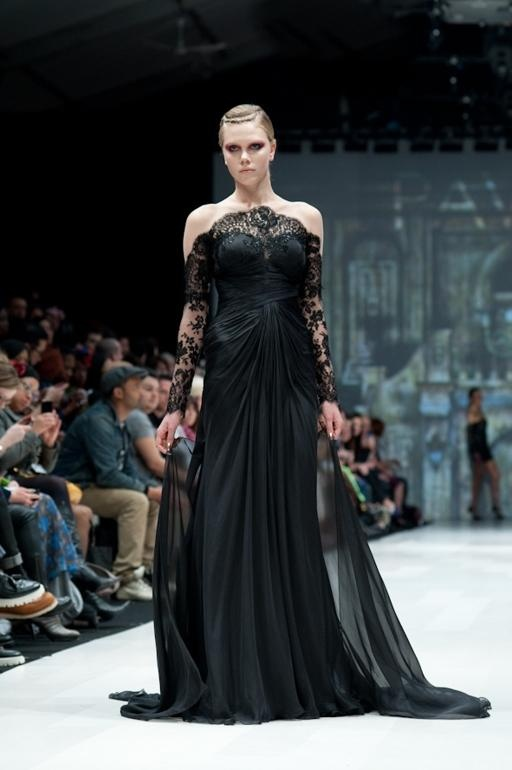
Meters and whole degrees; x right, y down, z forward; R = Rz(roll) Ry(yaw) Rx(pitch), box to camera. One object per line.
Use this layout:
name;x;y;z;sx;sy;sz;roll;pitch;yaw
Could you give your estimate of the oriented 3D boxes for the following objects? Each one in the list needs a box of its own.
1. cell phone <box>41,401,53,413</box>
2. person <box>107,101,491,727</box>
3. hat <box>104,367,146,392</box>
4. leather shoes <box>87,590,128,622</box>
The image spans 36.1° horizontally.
cell phone;-0.796;0.083;2.992;0.046;0.069;0.041;0;4;-18
person;0.026;0.020;1.878;0.765;1.496;0.443;-1;-2;-10
hat;-0.657;-0.038;4.004;0.179;0.084;0.129;-15;-1;-38
leather shoes;-0.605;0.943;3.337;0.283;0.074;0.116;16;-3;-37
